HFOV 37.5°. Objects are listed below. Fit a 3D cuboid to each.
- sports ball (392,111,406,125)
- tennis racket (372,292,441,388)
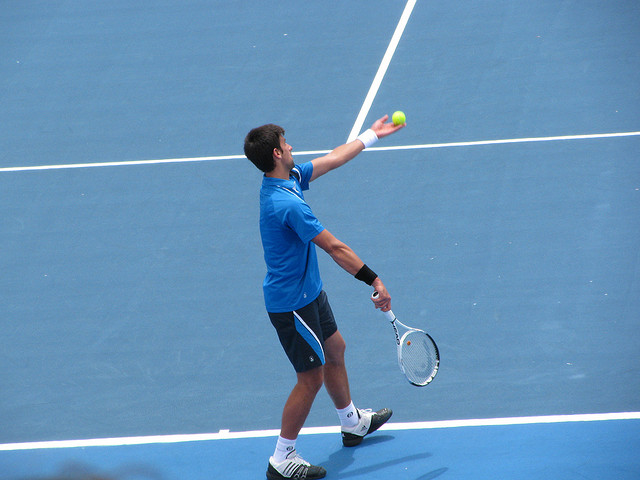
[{"bbox_3d":[0.815,-1.249,9.641,0.142,0.159,0.137,1,8,0],"label":"sports ball"},{"bbox_3d":[0.830,0.991,8.906,0.458,1.136,0.112,-41,33,-21],"label":"tennis racket"}]
